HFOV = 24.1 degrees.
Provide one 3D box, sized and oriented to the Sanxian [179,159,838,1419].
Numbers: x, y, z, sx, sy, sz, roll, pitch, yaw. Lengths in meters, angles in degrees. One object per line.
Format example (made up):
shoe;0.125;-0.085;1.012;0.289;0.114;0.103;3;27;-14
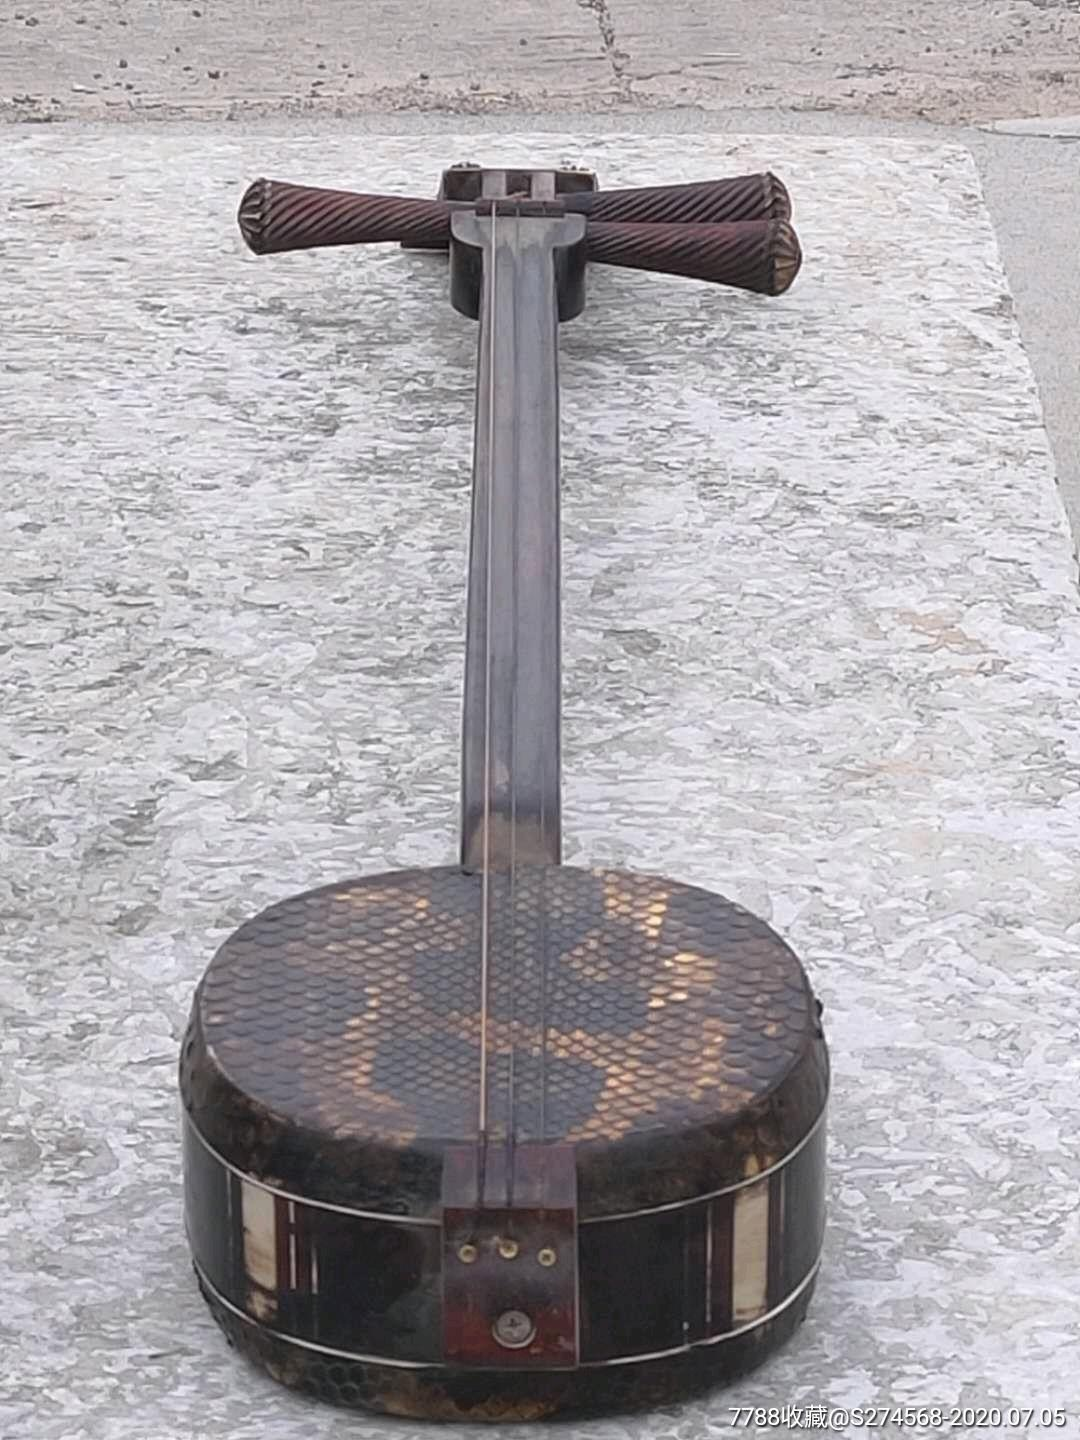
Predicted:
Sanxian;-0.007;0.014;1.198;0.262;0.123;0.621;0;41;0
